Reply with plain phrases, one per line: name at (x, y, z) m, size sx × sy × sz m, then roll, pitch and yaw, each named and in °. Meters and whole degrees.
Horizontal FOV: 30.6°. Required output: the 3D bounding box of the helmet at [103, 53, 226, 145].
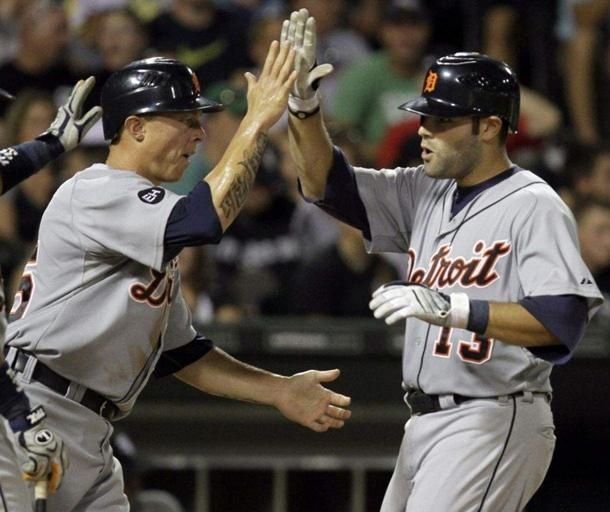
helmet at (-0.688, -0.731, 5.202) m, size 0.536 × 0.289 × 0.370 m, roll -6°, pitch 4°, yaw 8°

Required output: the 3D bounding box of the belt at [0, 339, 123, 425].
belt at (-1.131, 0.582, 5.167) m, size 0.454 × 0.103 × 0.310 m, roll 32°, pitch -11°, yaw -11°

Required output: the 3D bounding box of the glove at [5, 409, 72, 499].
glove at (-1.176, 0.870, 4.894) m, size 0.274 × 0.379 × 0.150 m, roll -10°, pitch -11°, yaw -7°

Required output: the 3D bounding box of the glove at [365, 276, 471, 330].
glove at (0.506, 0.227, 4.930) m, size 0.341 × 0.102 × 0.212 m, roll 10°, pitch 26°, yaw -16°

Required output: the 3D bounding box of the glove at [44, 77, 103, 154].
glove at (-1.102, -0.699, 5.430) m, size 0.269 × 0.130 × 0.387 m, roll 33°, pitch 48°, yaw -8°

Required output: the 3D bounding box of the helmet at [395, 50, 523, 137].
helmet at (0.719, -0.772, 5.292) m, size 0.518 × 0.273 × 0.353 m, roll 5°, pitch 4°, yaw -3°
